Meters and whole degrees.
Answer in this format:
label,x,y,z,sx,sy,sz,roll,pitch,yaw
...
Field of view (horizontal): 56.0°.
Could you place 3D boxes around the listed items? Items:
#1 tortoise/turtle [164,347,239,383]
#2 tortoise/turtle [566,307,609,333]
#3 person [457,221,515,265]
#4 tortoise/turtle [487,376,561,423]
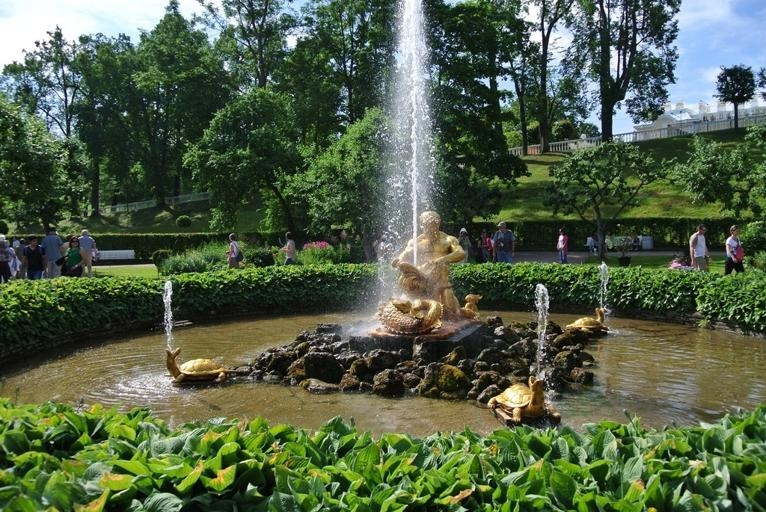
label,x,y,z,sx,sy,sz,roll,pitch,yaw
tortoise/turtle,-4.126,2.390,15.924,1.284,0.598,0.751,3,-7,-8
tortoise/turtle,5.316,1.742,18.835,0.947,0.571,0.700,-3,3,-17
person,4.169,-0.549,29.922,0.801,2.559,0.917,0,0,22
tortoise/turtle,2.711,2.811,13.993,1.371,0.841,0.613,1,9,9
